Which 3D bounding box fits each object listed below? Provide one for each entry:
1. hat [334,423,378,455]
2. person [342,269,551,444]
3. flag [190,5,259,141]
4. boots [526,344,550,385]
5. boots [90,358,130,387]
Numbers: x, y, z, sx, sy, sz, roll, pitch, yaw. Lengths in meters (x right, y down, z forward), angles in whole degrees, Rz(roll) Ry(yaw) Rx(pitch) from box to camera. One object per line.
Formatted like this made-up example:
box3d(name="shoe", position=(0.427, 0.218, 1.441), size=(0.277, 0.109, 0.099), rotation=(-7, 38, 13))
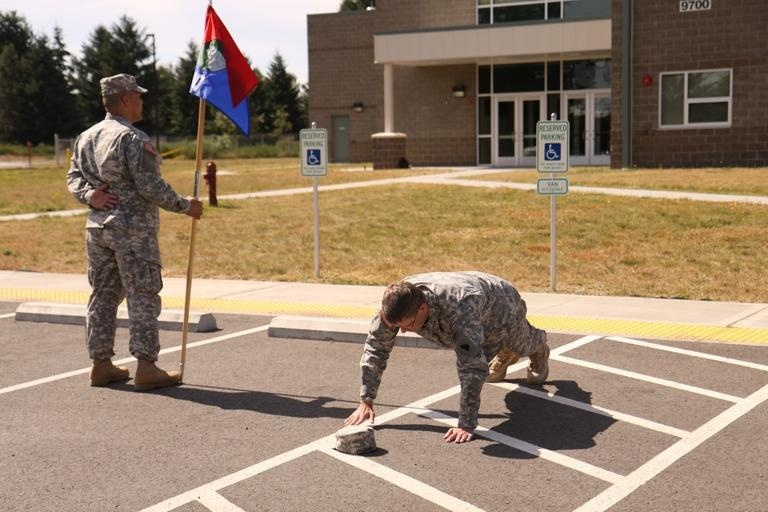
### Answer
box3d(name="hat", position=(-0.244, 1.540, 6.603), size=(0.262, 0.148, 0.258), rotation=(3, -7, -24))
box3d(name="person", position=(0.639, 0.820, 6.990), size=(1.839, 1.424, 0.962), rotation=(-12, 16, -41))
box3d(name="flag", position=(-1.728, -1.996, 8.382), size=(0.690, 1.368, 0.651), rotation=(-4, 13, -9))
box3d(name="boots", position=(1.539, 1.095, 7.835), size=(0.150, 0.329, 0.347), rotation=(12, -12, -2))
box3d(name="boots", position=(-2.786, 1.180, 8.089), size=(0.173, 0.332, 0.480), rotation=(8, 11, 33))
